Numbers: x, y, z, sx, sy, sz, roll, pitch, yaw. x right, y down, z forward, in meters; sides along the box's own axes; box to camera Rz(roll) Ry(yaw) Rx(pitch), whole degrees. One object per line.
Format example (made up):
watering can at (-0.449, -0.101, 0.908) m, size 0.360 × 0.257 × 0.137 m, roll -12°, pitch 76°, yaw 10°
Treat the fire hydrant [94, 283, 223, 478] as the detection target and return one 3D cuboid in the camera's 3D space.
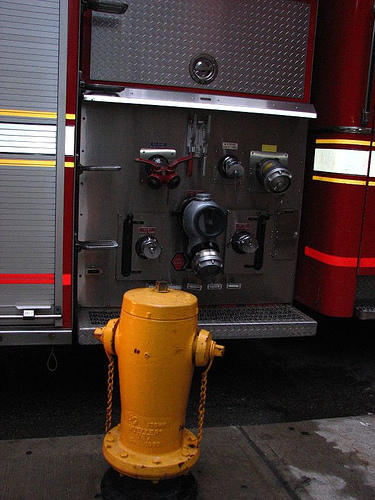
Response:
fire hydrant at (-0.140, 0.537, 1.730) m, size 0.527 × 0.772 × 0.385 m, roll 4°, pitch 0°, yaw -6°
